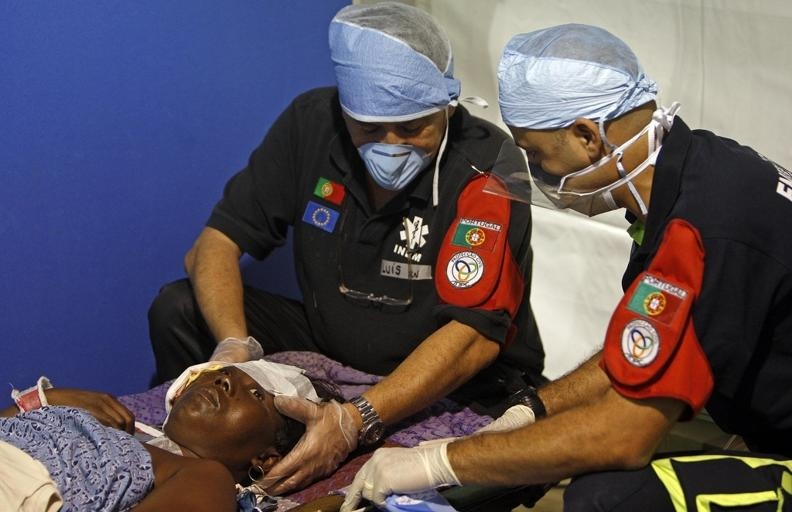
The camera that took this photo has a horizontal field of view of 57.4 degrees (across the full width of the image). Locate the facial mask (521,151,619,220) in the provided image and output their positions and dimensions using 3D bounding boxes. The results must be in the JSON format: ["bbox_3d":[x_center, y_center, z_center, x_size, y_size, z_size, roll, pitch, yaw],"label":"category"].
[{"bbox_3d":[0.690,-0.247,2.833,0.259,0.113,0.259,-14,12,12],"label":"facial mask"}]

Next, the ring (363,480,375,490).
[{"bbox_3d":[-0.103,0.849,2.702,0.027,0.020,0.028,-1,-7,0],"label":"ring"}]

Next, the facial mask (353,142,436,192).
[{"bbox_3d":[-0.008,-0.407,3.159,0.277,0.193,0.294,-3,17,-8],"label":"facial mask"}]

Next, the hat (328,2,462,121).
[{"bbox_3d":[0.018,-0.858,3.195,0.549,0.399,0.439,-2,14,15],"label":"hat"}]
